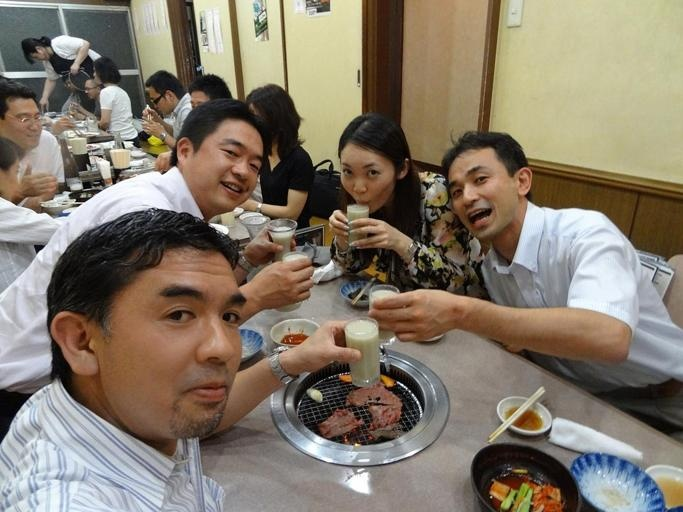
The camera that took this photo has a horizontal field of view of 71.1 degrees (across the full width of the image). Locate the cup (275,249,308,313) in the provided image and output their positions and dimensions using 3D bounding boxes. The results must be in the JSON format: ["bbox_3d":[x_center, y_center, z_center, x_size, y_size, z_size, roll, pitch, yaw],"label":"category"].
[{"bbox_3d":[-0.250,0.109,2.356,0.140,0.305,0.122,-10,25,-26],"label":"cup"}]

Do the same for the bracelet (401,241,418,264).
[{"bbox_3d":[0.377,-0.021,2.616,0.053,0.075,0.083,33,30,-2],"label":"bracelet"}]

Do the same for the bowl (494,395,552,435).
[{"bbox_3d":[0.654,0.583,1.731,0.186,0.045,0.183,4,21,-1],"label":"bowl"}]

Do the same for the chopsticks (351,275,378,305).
[{"bbox_3d":[0.113,0.173,2.364,0.026,0.020,0.252,-11,22,33],"label":"chopsticks"}]
